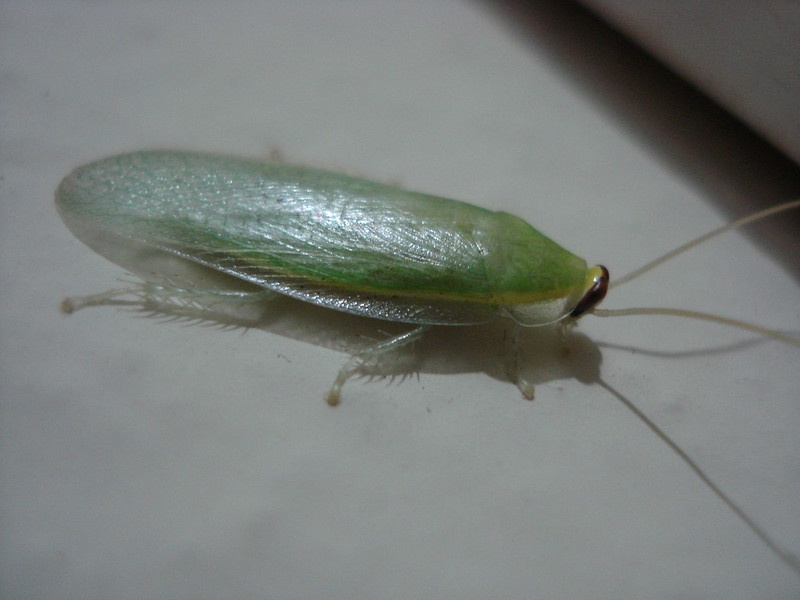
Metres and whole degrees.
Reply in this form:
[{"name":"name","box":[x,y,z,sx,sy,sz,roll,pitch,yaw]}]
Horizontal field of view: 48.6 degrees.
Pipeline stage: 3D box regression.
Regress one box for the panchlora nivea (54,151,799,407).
[{"name":"panchlora nivea","box":[-0.505,-0.337,5.833,3.443,0.976,0.644,17,35,0]}]
